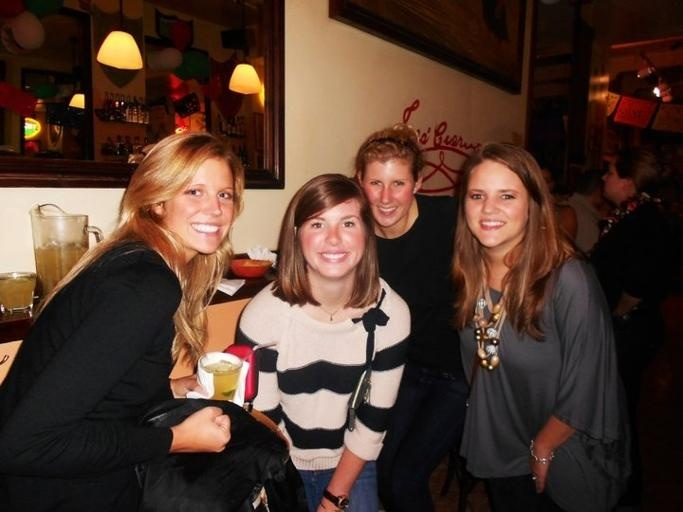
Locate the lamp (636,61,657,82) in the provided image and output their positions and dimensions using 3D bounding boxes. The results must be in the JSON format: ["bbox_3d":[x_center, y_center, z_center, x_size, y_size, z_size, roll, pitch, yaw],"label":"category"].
[{"bbox_3d":[5.450,-3.193,9.075,0.096,0.190,0.269,-32,7,-8],"label":"lamp"}]

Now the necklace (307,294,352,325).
[{"bbox_3d":[-0.066,0.269,2.422,0.212,0.093,0.037,2,7,-10],"label":"necklace"}]

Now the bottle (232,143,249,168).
[{"bbox_3d":[-0.598,-0.581,3.032,0.026,0.135,0.143,7,8,32],"label":"bottle"}]

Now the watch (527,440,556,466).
[{"bbox_3d":[0.900,0.881,2.286,0.090,0.114,0.089,1,9,8],"label":"watch"}]

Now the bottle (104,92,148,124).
[{"bbox_3d":[-1.088,-0.717,2.540,0.210,0.139,0.049,-2,9,-38],"label":"bottle"}]
